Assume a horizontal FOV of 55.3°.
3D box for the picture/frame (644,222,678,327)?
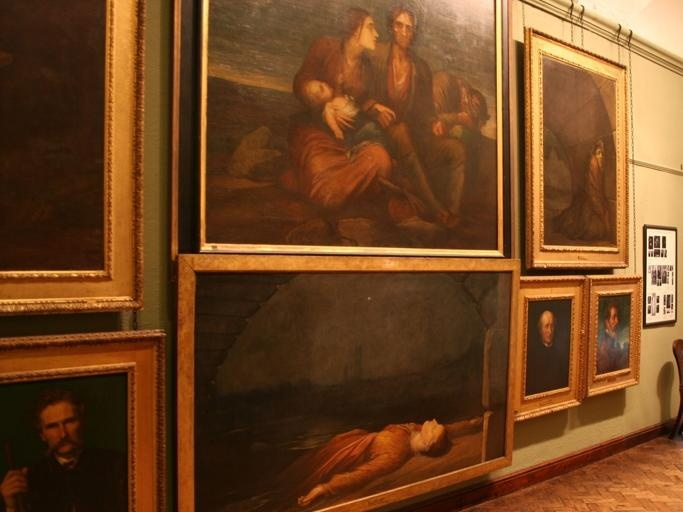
[{"bbox_3d":[3.884,0.198,7.953,1.153,1.689,0.052,0,0,-44],"label":"picture/frame"}]
